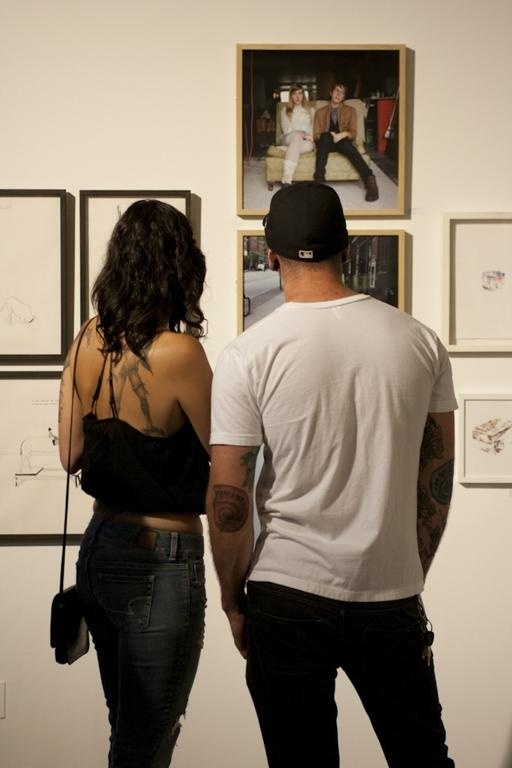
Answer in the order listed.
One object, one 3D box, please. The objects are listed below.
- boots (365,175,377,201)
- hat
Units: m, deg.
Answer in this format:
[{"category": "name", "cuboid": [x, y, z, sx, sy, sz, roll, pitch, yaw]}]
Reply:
[{"category": "boots", "cuboid": [0.345, -0.584, 2.240, 0.029, 0.081, 0.032, 1, -26, 5]}, {"category": "hat", "cuboid": [0.097, -0.306, 1.419, 0.129, 0.088, 0.170, 1, 49, 3]}]
